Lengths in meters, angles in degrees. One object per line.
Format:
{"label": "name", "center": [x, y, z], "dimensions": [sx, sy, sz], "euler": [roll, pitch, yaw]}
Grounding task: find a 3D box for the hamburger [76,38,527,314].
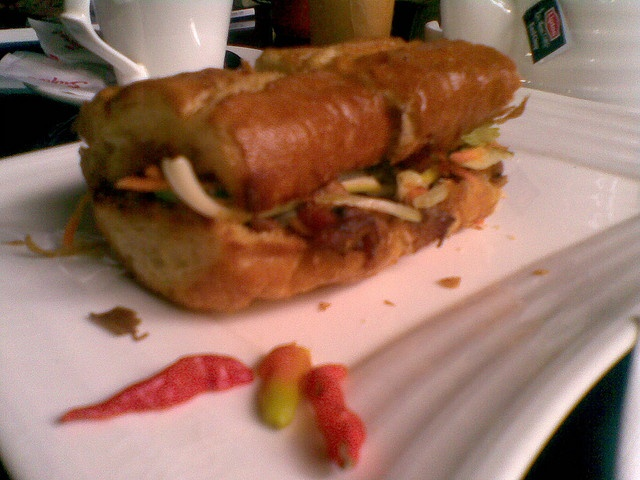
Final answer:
{"label": "hamburger", "center": [-0.004, -0.082, 1.085], "dimensions": [0.729, 0.312, 0.534], "euler": [-15, 22, -36]}
